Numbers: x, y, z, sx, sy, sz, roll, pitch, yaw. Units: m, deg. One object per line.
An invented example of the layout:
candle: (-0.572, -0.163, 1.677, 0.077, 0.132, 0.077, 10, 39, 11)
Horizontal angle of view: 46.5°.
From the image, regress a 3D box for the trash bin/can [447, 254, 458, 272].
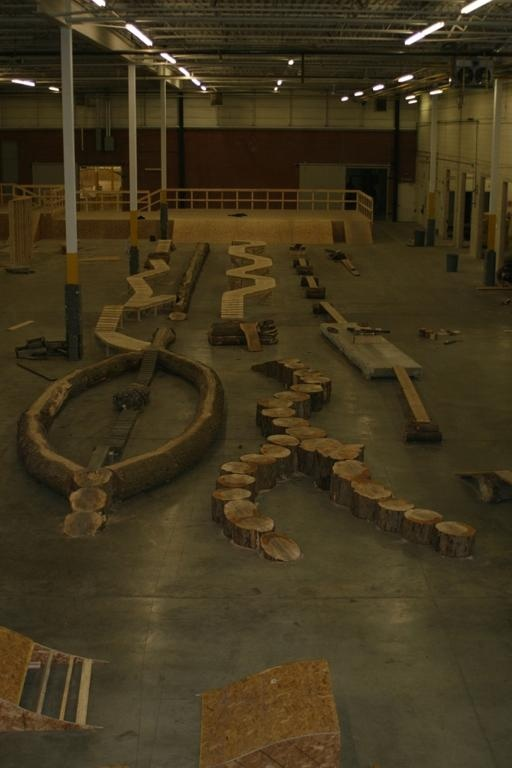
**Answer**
trash bin/can: (6.868, -4.247, 21.063, 0.369, 0.570, 0.313, 6, 15, 21)
